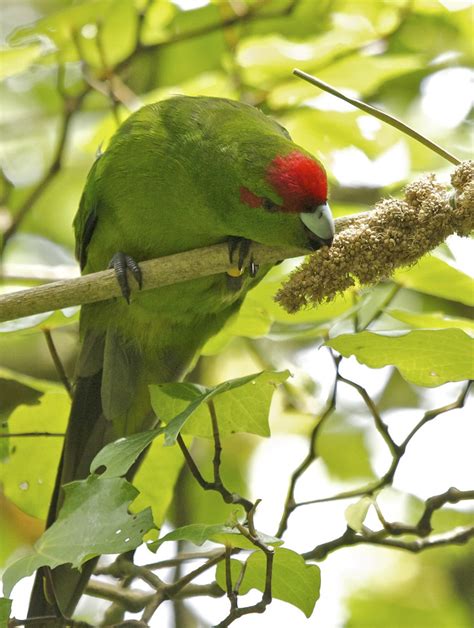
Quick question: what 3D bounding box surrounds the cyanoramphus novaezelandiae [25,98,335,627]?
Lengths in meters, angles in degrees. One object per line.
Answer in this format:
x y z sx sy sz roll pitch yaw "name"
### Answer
-0.340 0.096 2.399 0.549 1.613 0.653 33 30 -17 "cyanoramphus novaezelandiae"
